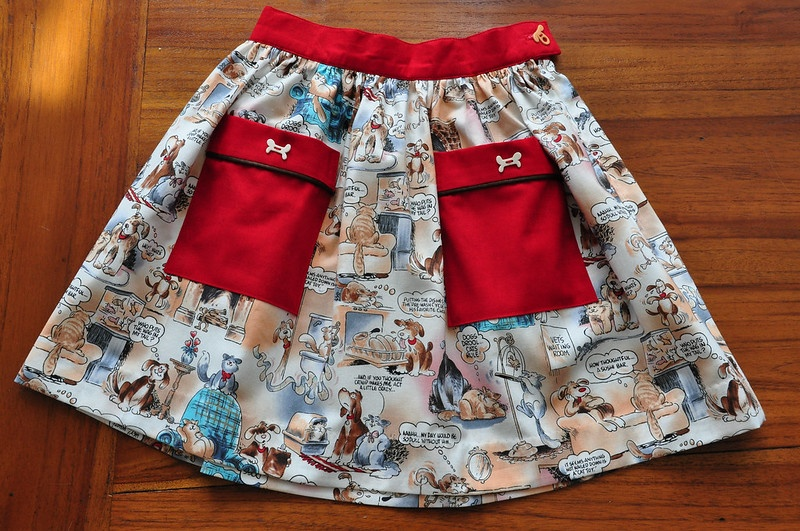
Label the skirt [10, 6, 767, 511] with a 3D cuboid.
[{"bbox_3d":[-0.075,0.028,2.003,1.497,0.133,0.911,9,74,0],"label":"skirt"}]
